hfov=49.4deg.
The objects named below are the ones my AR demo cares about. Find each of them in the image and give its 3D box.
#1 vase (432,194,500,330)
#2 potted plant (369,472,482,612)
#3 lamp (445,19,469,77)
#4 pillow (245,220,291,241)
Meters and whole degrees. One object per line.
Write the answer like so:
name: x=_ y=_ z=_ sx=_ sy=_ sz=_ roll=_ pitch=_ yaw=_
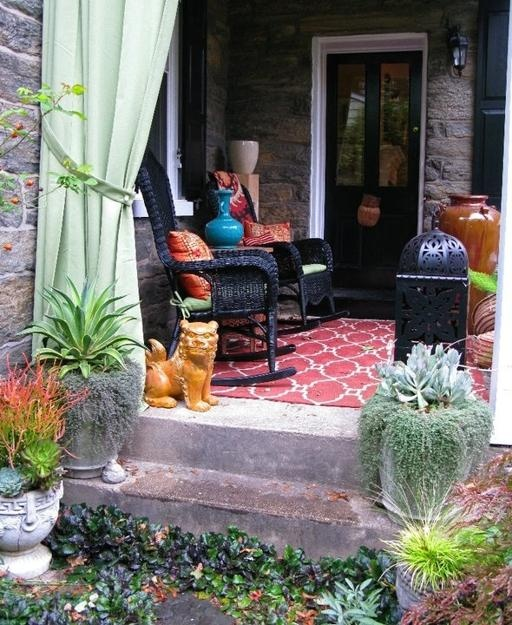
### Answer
vase: x=1.458 y=-0.361 z=3.836 sx=0.438 sy=0.940 sz=0.801 roll=7 pitch=9 yaw=17
potted plant: x=0.394 y=0.595 z=1.335 sx=0.162 sy=0.157 sz=0.126 roll=17 pitch=-13 yaw=-23
lamp: x=1.585 y=-2.099 z=4.395 sx=0.188 sy=0.388 sz=0.258 roll=7 pitch=9 yaw=16
pillow: x=0.093 y=-0.630 z=4.324 sx=0.285 sy=0.076 sz=0.270 roll=3 pitch=21 yaw=3
